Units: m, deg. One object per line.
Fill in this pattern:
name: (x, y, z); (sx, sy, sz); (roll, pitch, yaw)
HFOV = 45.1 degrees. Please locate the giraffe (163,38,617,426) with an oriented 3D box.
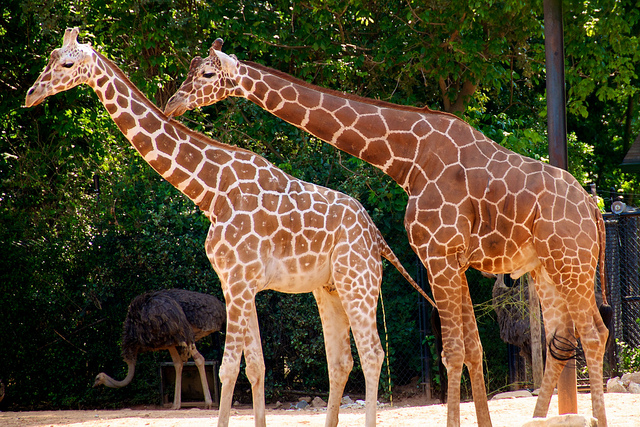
giraffe: (1.881, -0.035, 11.144); (5.317, 7.894, 3.696); (-11, -12, 41)
